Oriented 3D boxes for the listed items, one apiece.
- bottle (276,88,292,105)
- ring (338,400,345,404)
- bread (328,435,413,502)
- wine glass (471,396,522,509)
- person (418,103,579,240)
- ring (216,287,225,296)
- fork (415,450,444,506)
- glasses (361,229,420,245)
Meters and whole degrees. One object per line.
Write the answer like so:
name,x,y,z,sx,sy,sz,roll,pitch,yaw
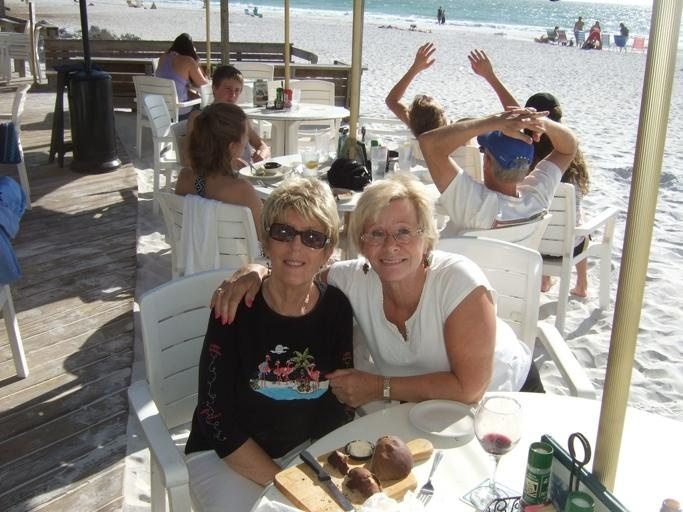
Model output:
bottle,-0.667,-1.819,6.206,0.165,0.298,0.157,2,28,-1
ring,-0.004,0.544,2.008,0.020,0.009,0.024,35,-8,17
bread,0.090,0.601,1.546,0.202,0.083,0.146,-20,43,-22
wine glass,0.431,0.546,1.537,0.130,0.249,0.250,9,19,16
person,0.842,-0.566,3.831,1.195,0.727,1.304,-12,14,5
ring,-0.454,0.131,2.032,0.028,0.028,0.024,4,8,44
fork,0.249,0.651,1.594,0.037,0.024,0.207,9,26,16
glasses,0.183,-0.071,2.062,0.223,0.065,0.061,6,19,6
